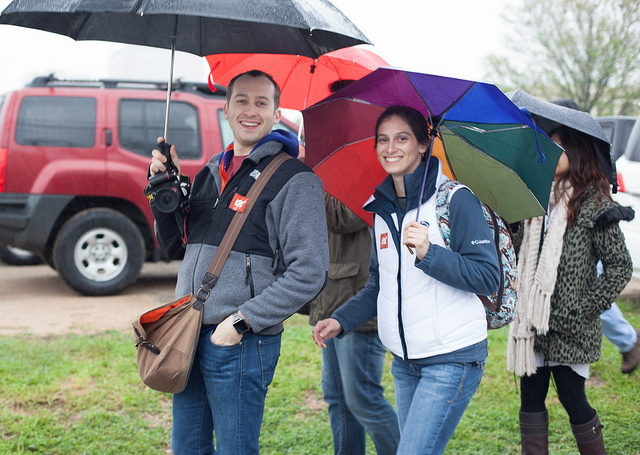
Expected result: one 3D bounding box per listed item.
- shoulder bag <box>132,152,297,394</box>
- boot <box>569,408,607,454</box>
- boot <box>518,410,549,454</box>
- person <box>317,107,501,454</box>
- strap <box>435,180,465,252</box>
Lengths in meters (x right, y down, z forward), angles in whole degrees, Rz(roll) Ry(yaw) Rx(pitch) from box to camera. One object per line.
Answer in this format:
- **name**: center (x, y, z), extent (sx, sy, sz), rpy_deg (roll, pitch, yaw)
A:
- **shoulder bag**: center (-0.641, 0.271, 3.051), extent (0.766, 1.270, 0.276), rpy_deg (-3, 11, -27)
- **boot**: center (1.829, 1.415, 3.699), extent (0.235, 0.299, 0.101), rpy_deg (1, 10, -8)
- **boot**: center (1.480, 1.409, 3.741), extent (0.216, 0.301, 0.160), rpy_deg (4, 10, 6)
- **person**: center (0.556, 0.260, 3.098), extent (0.552, 1.850, 0.806), rpy_deg (-6, 13, -41)
- **strap**: center (0.698, -0.069, 3.021), extent (0.124, 0.363, 0.147), rpy_deg (6, 11, 21)
